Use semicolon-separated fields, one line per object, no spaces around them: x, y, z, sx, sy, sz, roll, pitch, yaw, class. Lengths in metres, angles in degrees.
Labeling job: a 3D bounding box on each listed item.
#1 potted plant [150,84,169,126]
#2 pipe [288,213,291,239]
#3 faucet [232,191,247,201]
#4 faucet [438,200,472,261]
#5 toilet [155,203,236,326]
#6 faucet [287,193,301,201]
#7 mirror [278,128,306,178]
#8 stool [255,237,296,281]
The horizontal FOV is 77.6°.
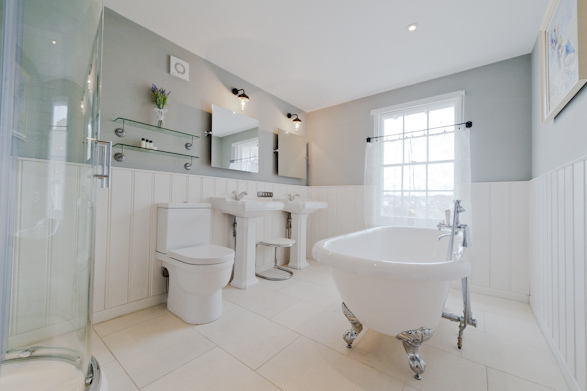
-1.339;-0.910;3.681;0.172;0.395;0.134;-2;3;-29;potted plant
-0.057;0.423;5.005;0.026;0.330;0.116;-1;2;-11;pipe
-0.650;0.002;4.329;0.157;0.095;0.085;-1;2;-18;faucet
1.477;0.356;3.332;0.296;0.581;0.114;-7;2;32;faucet
-0.943;0.626;3.549;0.538;1.093;0.757;-2;3;-40;toilet
0.001;0.023;5.047;0.063;0.085;0.212;1;-1;-31;faucet
-0.036;-0.551;5.237;0.123;0.713;0.723;6;10;34;mirror
-0.226;0.786;4.555;0.522;0.445;0.498;1;2;42;stool
